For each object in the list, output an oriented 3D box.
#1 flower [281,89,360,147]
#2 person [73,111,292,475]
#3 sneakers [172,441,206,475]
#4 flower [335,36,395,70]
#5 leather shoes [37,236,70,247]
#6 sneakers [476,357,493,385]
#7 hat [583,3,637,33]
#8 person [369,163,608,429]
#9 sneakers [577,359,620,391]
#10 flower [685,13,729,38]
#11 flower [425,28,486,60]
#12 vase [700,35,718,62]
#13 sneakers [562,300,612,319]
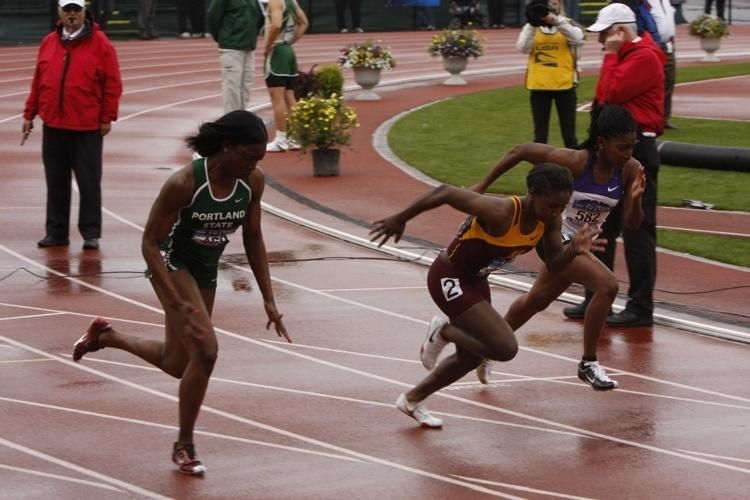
[{"bbox_3d":[-0.835,-1.991,13.889,1.304,0.705,1.049,-2,4,-12],"label":"flower"},{"bbox_3d":[-1.106,0.264,6.031,0.595,2.363,1.080,14,24,40],"label":"person"},{"bbox_3d":[-1.242,1.380,5.953,0.133,0.116,0.344,-7,11,-42],"label":"sneakers"},{"bbox_3d":[-0.236,-4.668,21.741,1.304,0.665,0.674,-2,16,-1],"label":"flower"},{"bbox_3d":[-3.720,-0.092,10.472,0.371,0.107,0.123,3,1,-34],"label":"leather shoes"},{"bbox_3d":[0.878,0.971,7.238,0.066,0.192,0.163,1,16,36],"label":"sneakers"},{"bbox_3d":[2.214,-2.197,8.503,0.511,0.159,0.276,-2,9,0],"label":"hat"},{"bbox_3d":[0.788,0.331,6.595,1.528,1.939,0.613,-2,19,1],"label":"person"},{"bbox_3d":[1.729,0.957,6.973,0.168,0.154,0.408,-31,30,-30],"label":"sneakers"},{"bbox_3d":[11.414,-7.664,30.962,1.169,0.800,1.131,4,16,20],"label":"flower"},{"bbox_3d":[2.215,-5.596,24.257,1.228,0.450,1.040,-2,4,-26],"label":"flower"},{"bbox_3d":[11.712,-7.051,31.654,0.573,0.781,1.089,3,16,17],"label":"vase"},{"bbox_3d":[2.036,0.590,8.769,0.585,0.157,0.168,1,2,4],"label":"sneakers"}]
